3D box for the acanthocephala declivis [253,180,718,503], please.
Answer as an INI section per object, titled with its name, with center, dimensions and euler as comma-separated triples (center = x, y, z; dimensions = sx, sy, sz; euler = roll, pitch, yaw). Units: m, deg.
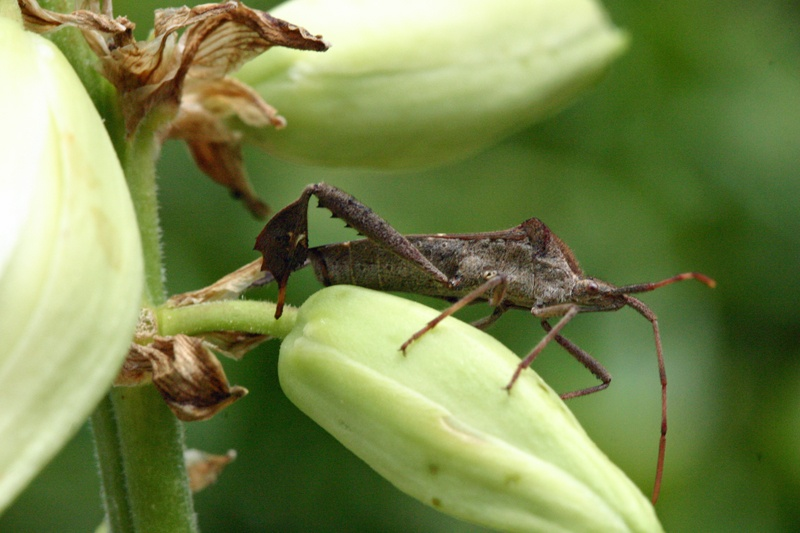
[acanthocephala declivis]
center = 0.210, 0.168, 2.763
dimensions = 1.321, 0.664, 0.784
euler = 14, -1, 3
